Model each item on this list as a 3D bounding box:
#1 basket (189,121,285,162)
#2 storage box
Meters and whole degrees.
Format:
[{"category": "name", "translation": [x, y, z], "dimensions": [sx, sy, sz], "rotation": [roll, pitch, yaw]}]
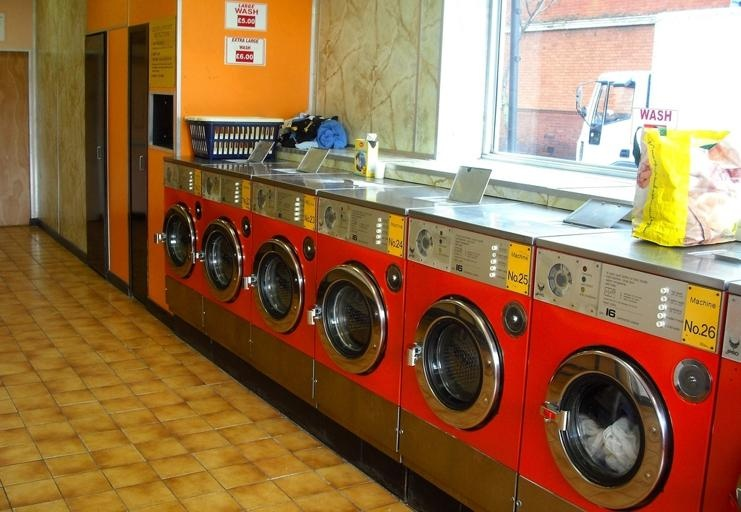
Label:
[{"category": "basket", "translation": [-1.163, -1.015, 4.695], "dimensions": [0.593, 0.274, 0.431], "rotation": [-4, 12, -28]}, {"category": "storage box", "translation": [-1.158, -0.936, 4.690], "dimensions": [0.612, 0.288, 0.446], "rotation": [-4, 12, -28]}]
